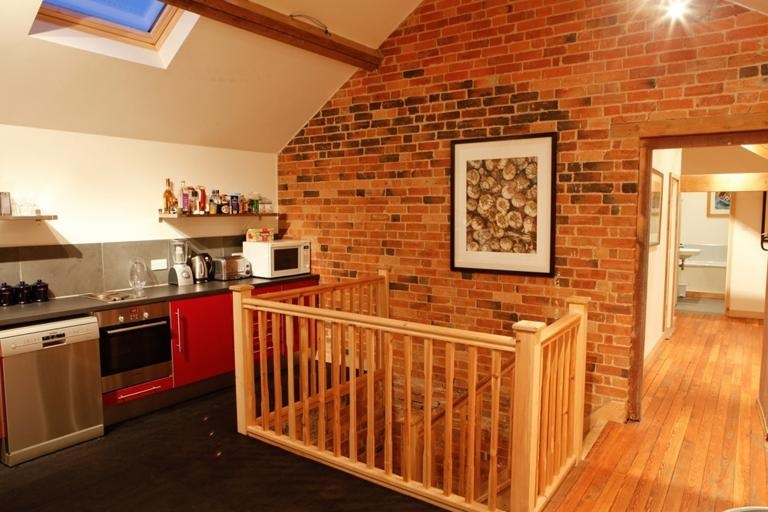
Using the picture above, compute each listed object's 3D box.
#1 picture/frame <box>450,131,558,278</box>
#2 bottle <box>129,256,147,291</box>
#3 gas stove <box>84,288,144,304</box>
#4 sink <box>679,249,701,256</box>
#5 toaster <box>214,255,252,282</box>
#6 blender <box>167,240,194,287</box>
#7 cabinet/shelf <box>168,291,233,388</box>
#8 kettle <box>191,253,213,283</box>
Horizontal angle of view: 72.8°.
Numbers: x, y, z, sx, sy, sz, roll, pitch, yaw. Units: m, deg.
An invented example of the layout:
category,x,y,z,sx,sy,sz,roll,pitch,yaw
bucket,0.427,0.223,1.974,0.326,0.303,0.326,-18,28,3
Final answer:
category,x,y,z,sx,sy,sz,roll,pitch,yaw
picture/frame,1.213,-0.504,5.357,1.055,1.391,0.074,1,5,27
bottle,-2.594,0.205,5.490,0.179,0.320,0.334,-4,5,-26
gas stove,-2.672,0.400,5.186,0.507,0.046,0.701,-4,5,-33
sink,5.853,-0.068,9.997,0.332,0.077,0.360,3,6,34
toaster,-1.766,0.146,6.029,0.265,0.154,0.339,6,10,32
blender,-2.257,0.083,5.786,0.257,0.482,0.391,-4,5,-29
cabinet/shelf,-1.875,0.855,5.425,0.502,0.824,0.725,7,10,31
kettle,-2.060,0.144,5.863,0.248,0.298,0.171,-3,5,-18
